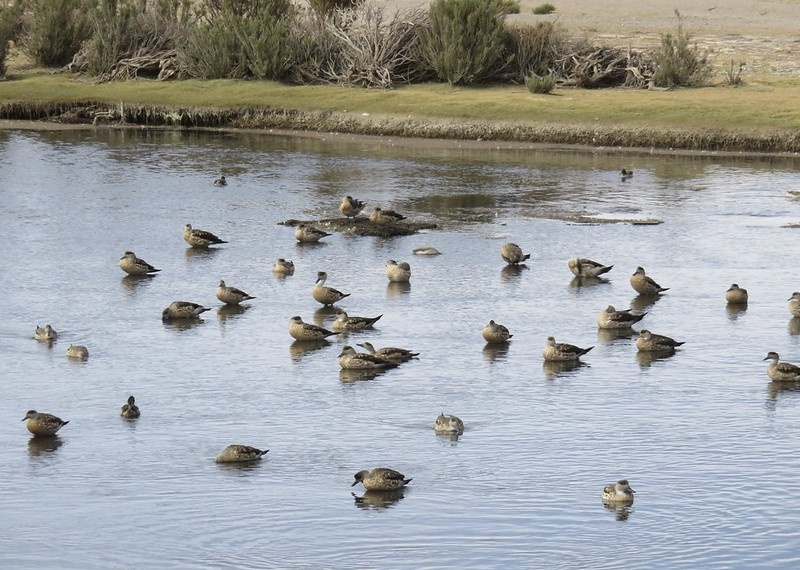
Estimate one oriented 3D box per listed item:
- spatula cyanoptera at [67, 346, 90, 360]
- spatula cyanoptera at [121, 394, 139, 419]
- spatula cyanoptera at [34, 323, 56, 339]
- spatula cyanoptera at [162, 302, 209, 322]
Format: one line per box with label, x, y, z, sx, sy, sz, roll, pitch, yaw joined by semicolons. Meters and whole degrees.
spatula cyanoptera;-7.271;1.523;30.949;0.532;0.224;0.281;-1;-1;25
spatula cyanoptera;-5.542;2.471;28.100;0.410;0.444;0.485;-3;15;-11
spatula cyanoptera;-8.293;1.074;31.967;0.579;0.325;0.426;2;14;11
spatula cyanoptera;-5.244;0.624;33.679;1.029;0.436;0.448;-24;10;-4
